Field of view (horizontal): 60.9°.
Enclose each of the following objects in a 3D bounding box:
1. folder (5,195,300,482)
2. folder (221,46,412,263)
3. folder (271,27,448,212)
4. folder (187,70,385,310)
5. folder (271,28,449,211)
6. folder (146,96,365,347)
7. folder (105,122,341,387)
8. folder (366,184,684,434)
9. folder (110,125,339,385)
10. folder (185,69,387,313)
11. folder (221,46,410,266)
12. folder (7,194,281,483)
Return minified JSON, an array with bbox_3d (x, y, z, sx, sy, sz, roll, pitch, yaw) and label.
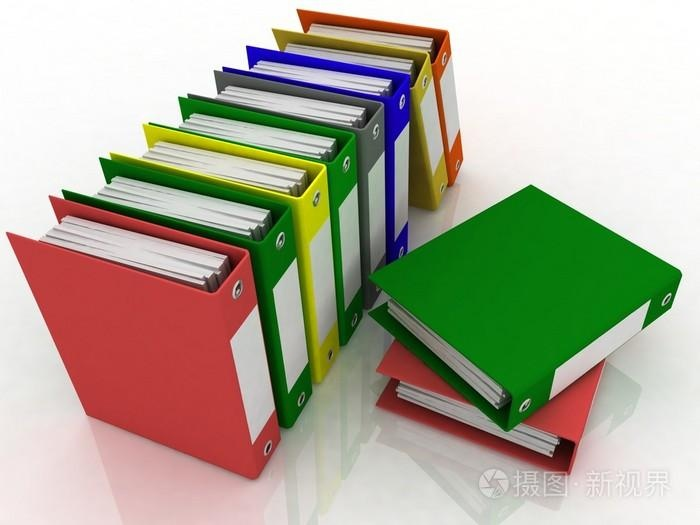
[{"bbox_3d":[-0.472,0.213,1.518,0.600,0.217,0.742,17,-46,17],"label":"folder"},{"bbox_3d":[-0.098,-0.312,1.694,0.544,0.190,0.558,18,-49,22],"label":"folder"},{"bbox_3d":[0.016,-0.462,1.822,0.538,0.218,0.636,19,-38,20],"label":"folder"},{"bbox_3d":[-0.174,-0.201,1.603,0.550,0.218,0.615,18,-46,20],"label":"folder"},{"bbox_3d":[0.017,-0.463,1.822,0.527,0.213,0.619,20,-38,20],"label":"folder"},{"bbox_3d":[-0.248,-0.117,1.532,0.568,0.201,0.581,18,-47,20],"label":"folder"},{"bbox_3d":[-0.322,-0.025,1.484,0.531,0.217,0.625,20,-46,22],"label":"folder"},{"bbox_3d":[0.518,0.089,1.699,0.612,0.703,0.171,39,-35,32],"label":"folder"},{"bbox_3d":[-0.318,-0.026,1.481,0.516,0.212,0.606,20,-46,21],"label":"folder"},{"bbox_3d":[-0.174,-0.198,1.604,0.575,0.201,0.591,19,-46,22],"label":"folder"},{"bbox_3d":[-0.100,-0.305,1.691,0.546,0.192,0.563,18,-49,22],"label":"folder"},{"bbox_3d":[-0.497,0.215,1.513,0.598,0.230,0.729,18,-46,17],"label":"folder"}]
